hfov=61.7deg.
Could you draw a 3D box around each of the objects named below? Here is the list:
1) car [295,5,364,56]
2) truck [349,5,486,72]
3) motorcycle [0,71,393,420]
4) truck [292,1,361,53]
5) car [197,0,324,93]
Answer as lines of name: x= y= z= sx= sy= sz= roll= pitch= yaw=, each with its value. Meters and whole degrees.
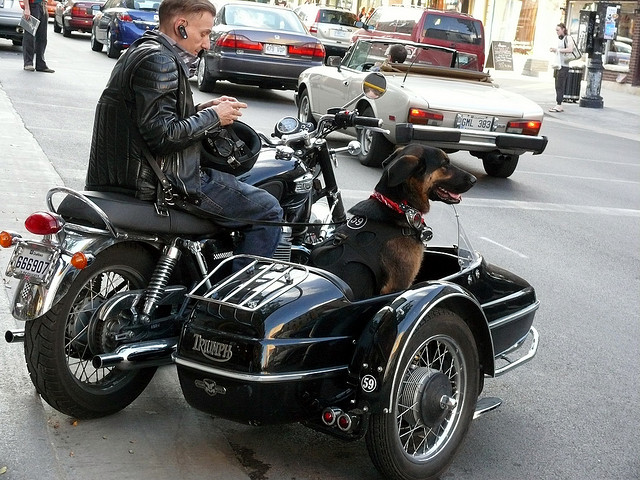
car: x=0.589 y=-9.772 z=25.071 sx=2.215 sy=2.112 sz=4.700 roll=-2 pitch=21 yaw=-11
truck: x=2.870 y=-6.336 z=17.571 sx=3.004 sy=2.497 sz=4.410 roll=-6 pitch=23 yaw=-33
motorcycle: x=-0.886 y=-0.354 z=4.133 sx=3.076 sy=2.030 sz=1.653 roll=-20 pitch=19 yaw=-41
truck: x=0.005 y=-10.057 z=27.062 sx=2.851 sy=2.770 sz=5.919 roll=-2 pitch=22 yaw=-14
car: x=-2.440 y=-5.718 z=17.170 sx=2.830 sy=2.238 sz=6.389 roll=-3 pitch=20 yaw=-17
